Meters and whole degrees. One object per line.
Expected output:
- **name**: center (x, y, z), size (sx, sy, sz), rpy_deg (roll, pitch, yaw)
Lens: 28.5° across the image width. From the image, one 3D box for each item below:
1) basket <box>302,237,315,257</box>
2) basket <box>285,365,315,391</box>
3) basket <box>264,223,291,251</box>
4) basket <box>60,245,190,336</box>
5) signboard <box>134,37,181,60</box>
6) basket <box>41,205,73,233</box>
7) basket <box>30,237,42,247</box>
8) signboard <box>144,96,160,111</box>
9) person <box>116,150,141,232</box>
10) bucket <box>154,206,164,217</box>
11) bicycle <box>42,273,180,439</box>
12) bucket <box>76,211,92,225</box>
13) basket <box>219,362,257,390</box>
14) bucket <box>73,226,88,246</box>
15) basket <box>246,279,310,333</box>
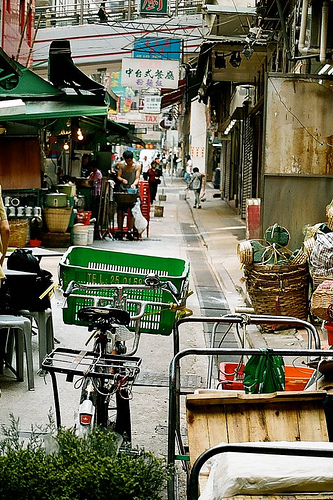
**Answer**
- **basket**: center (1.589, -0.021, 7.287), size (0.110, 0.183, 0.196), rpy_deg (0, 7, 3)
- **basket**: center (0.765, 0.738, 3.766), size (0.209, 0.088, 0.277), rpy_deg (0, -2, 5)
- **basket**: center (1.336, -0.167, 7.907), size (0.268, 0.310, 0.275), rpy_deg (7, 10, 7)
- **basket**: center (-0.375, 0.324, 4.401), size (0.942, 0.381, 0.668), rpy_deg (10, 10, 11)
- **signboard**: center (-0.257, -6.693, 21.911), size (1.109, 0.659, 1.080), rpy_deg (0, 17, 3)
- **basket**: center (-2.169, -0.588, 13.048), size (0.531, 0.532, 0.567), rpy_deg (0, 1, -2)
- **basket**: center (-2.567, -0.136, 12.922), size (0.153, 0.096, 0.138), rpy_deg (0, 6, -32)
- **signboard**: center (-0.604, -6.231, 28.030), size (0.672, 0.625, 0.292), rpy_deg (0, 7, -4)
- **person**: center (-0.890, -1.336, 15.307), size (0.569, 1.896, 1.163), rpy_deg (0, 7, -3)
- **bucket**: center (-0.258, -1.318, 22.570), size (0.299, 0.376, 0.398), rpy_deg (2, 7, 11)
- **bicycle**: center (-0.264, 0.552, 3.260), size (0.518, 0.700, 1.167), rpy_deg (3, 9, 9)
- **bucket**: center (-1.736, -0.678, 14.077), size (0.288, 0.209, 0.275), rpy_deg (1, -4, 0)
- **basket**: center (0.403, 0.718, 3.715), size (0.192, 0.085, 0.268), rpy_deg (2, 13, 2)
- **bucket**: center (-1.790, -0.302, 13.716), size (0.380, 0.382, 0.364), rpy_deg (2, 10, 0)
- **basket**: center (1.238, 0.448, 7.331), size (0.639, 0.517, 0.710), rpy_deg (0, 10, 15)
